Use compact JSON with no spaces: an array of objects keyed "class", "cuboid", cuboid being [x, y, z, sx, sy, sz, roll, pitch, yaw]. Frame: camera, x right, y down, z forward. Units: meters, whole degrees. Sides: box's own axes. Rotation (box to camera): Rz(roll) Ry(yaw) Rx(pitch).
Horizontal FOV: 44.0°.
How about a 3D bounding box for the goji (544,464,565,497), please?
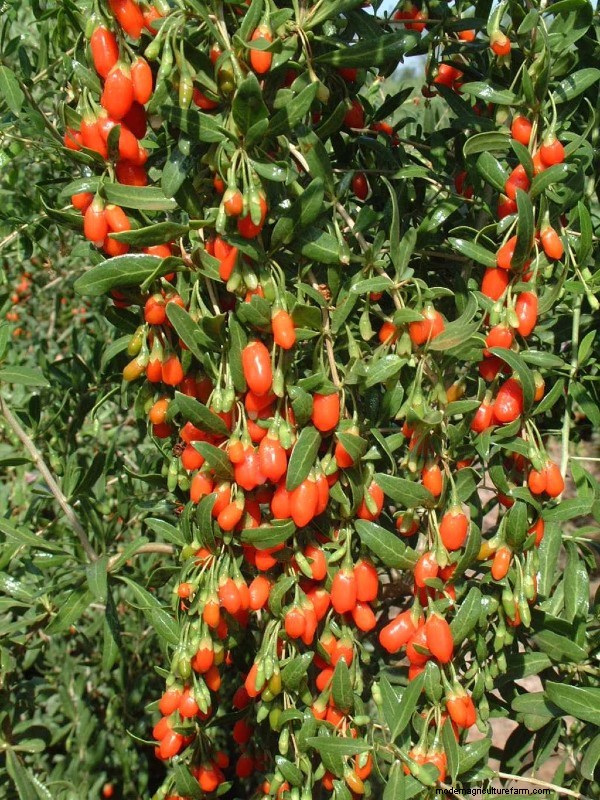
[{"class":"goji","cuboid":[0.404,0.131,1.189,0.032,0.031,0.060,2,78,0]}]
